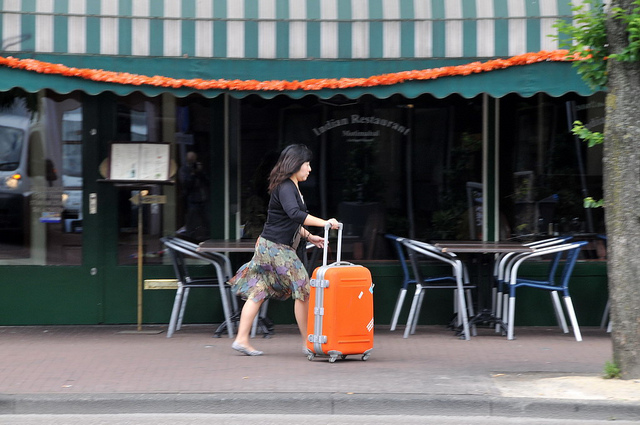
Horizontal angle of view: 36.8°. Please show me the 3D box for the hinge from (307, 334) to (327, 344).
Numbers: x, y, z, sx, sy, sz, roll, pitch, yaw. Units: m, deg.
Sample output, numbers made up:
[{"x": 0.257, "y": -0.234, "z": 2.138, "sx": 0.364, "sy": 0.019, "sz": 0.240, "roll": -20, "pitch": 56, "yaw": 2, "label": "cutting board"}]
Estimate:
[{"x": -0.049, "y": 1.566, "z": 11.899, "sx": 0.283, "sy": 0.139, "sz": 0.122, "roll": -1, "pitch": -2, "yaw": 2, "label": "hinge"}]

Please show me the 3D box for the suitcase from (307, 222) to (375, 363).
[{"x": 0.245, "y": 1.262, "z": 11.934, "sx": 0.810, "sy": 1.242, "sz": 0.298, "roll": -1, "pitch": 3, "yaw": -6, "label": "suitcase"}]

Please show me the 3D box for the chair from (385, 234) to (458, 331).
[{"x": 1.435, "y": 0.993, "z": 13.597, "sx": 1.014, "sy": 1.378, "sz": 0.797, "roll": -1, "pitch": 3, "yaw": 4, "label": "chair"}]

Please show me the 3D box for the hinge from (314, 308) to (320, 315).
[{"x": -0.044, "y": 1.217, "z": 11.860, "sx": 0.076, "sy": 0.074, "sz": 0.008, "roll": 1, "pitch": 4, "yaw": 31, "label": "hinge"}]

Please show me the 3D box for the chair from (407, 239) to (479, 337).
[{"x": 1.743, "y": 1.043, "z": 13.570, "sx": 0.988, "sy": 1.350, "sz": 1.112, "roll": -1, "pitch": 3, "yaw": 7, "label": "chair"}]

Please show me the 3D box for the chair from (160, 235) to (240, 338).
[{"x": -1.691, "y": 1.023, "z": 13.590, "sx": 1.044, "sy": 1.404, "sz": 0.984, "roll": -1, "pitch": 3, "yaw": 0, "label": "chair"}]

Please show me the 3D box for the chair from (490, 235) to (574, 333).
[{"x": 3.000, "y": 1.029, "z": 13.484, "sx": 1.275, "sy": 1.345, "sz": 0.967, "roll": -1, "pitch": 3, "yaw": -9, "label": "chair"}]
